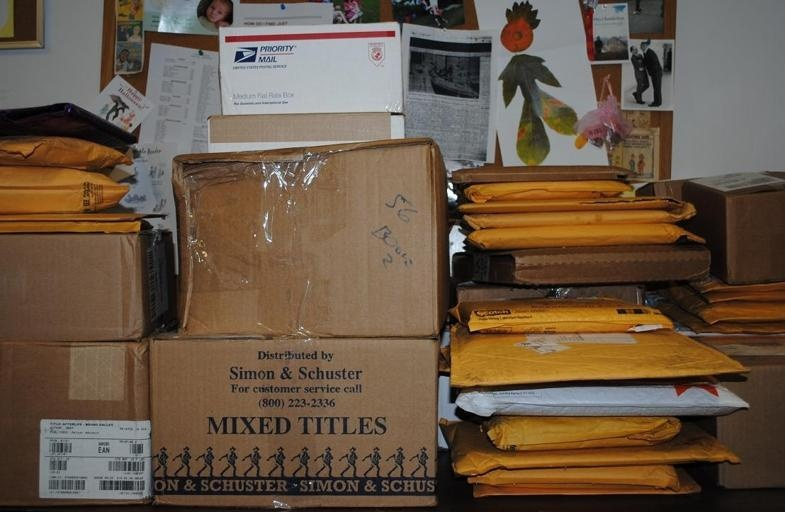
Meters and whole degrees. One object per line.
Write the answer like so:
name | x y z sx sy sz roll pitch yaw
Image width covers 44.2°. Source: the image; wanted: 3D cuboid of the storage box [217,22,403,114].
storage box | -0.269 -0.633 3.318 0.727 0.316 0.151 -1 -3 1

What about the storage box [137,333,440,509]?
storage box | -0.344 0.550 3.099 0.726 0.385 0.669 1 -3 3

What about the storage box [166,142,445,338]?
storage box | -0.247 -0.047 3.312 0.770 0.424 0.710 0 -2 0
